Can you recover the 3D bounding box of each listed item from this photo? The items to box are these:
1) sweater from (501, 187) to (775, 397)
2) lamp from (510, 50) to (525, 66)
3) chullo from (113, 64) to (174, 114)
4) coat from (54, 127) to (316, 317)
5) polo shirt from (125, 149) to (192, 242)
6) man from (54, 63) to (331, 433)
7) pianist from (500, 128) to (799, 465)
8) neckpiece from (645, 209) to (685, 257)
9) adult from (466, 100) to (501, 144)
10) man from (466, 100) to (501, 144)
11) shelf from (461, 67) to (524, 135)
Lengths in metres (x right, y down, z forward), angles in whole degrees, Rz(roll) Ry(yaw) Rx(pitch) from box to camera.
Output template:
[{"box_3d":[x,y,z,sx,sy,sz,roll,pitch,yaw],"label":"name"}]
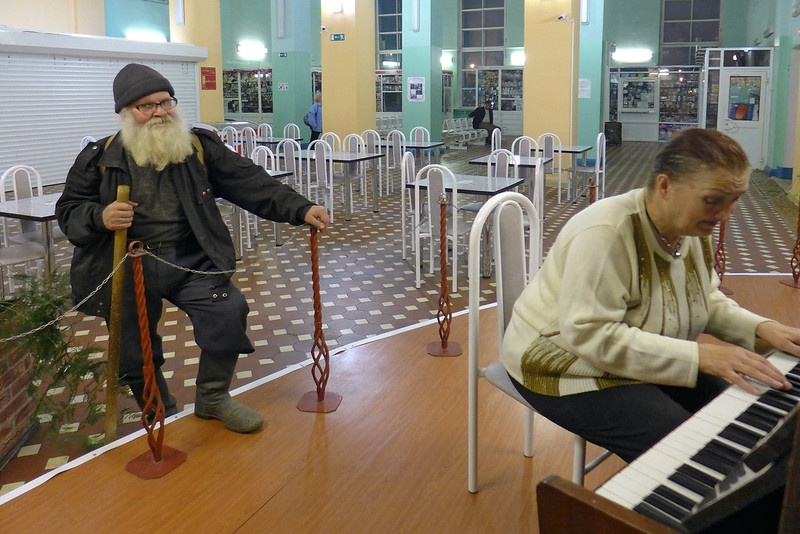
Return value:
[{"box_3d":[0.761,0.068,1.754,0.769,0.636,0.650,10,17,42],"label":"sweater"},{"box_3d":[4.701,-8.428,20.236,0.408,0.632,0.718,-3,18,3],"label":"lamp"},{"box_3d":[-1.302,-0.902,2.524,0.284,0.231,0.191,-8,18,-15],"label":"chullo"},{"box_3d":[-1.095,-0.293,2.616,1.187,0.980,0.608,-14,-2,-5],"label":"coat"},{"box_3d":[-1.210,-0.374,2.563,0.254,0.482,0.314,18,18,34],"label":"polo shirt"},{"box_3d":[-1.038,-0.062,2.606,1.244,1.793,0.800,-2,6,-15],"label":"man"},{"box_3d":[0.942,-0.191,2.229,1.156,1.739,0.802,14,25,39],"label":"pianist"},{"box_3d":[0.873,-0.086,1.664,0.044,0.159,0.120,-40,17,-20],"label":"neckpiece"},{"box_3d":[3.027,-5.179,18.037,0.967,1.661,1.091,15,18,43],"label":"adult"},{"box_3d":[2.923,-5.160,18.039,1.163,1.761,1.013,-2,10,-23],"label":"man"},{"box_3d":[4.228,-6.864,21.431,0.867,2.612,2.656,-10,11,17],"label":"shelf"}]
